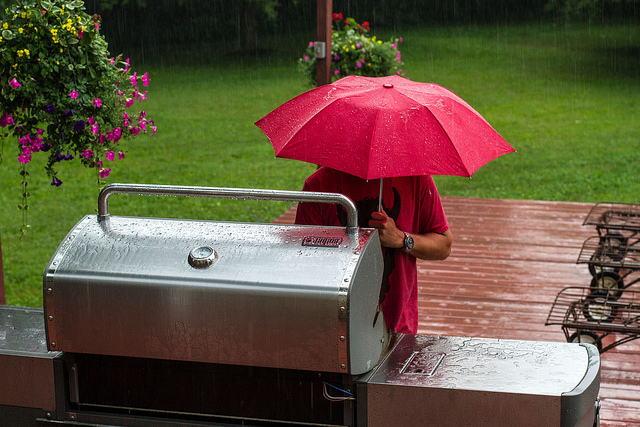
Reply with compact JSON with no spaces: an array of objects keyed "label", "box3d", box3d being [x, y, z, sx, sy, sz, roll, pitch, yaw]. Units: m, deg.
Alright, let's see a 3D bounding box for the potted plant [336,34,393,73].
[{"label":"potted plant","box3d":[0.588,-2.175,18.117,0.551,0.276,0.577,15,11,-21]}]
